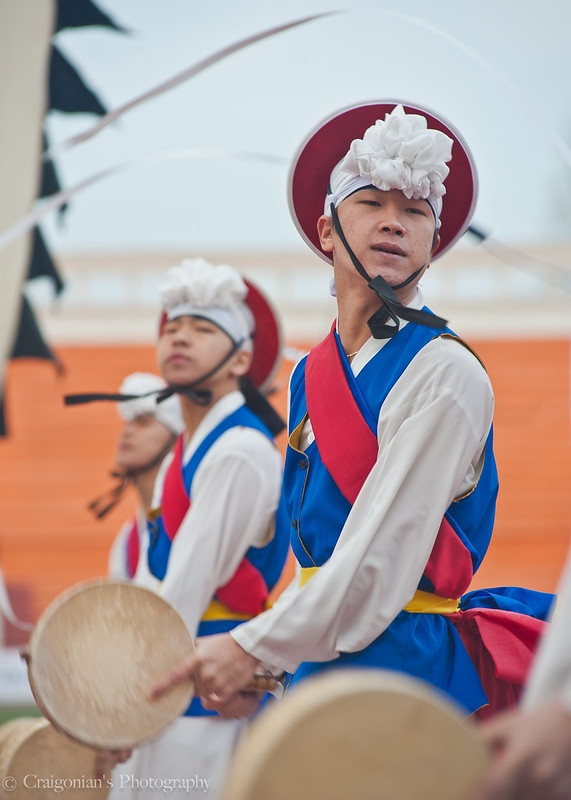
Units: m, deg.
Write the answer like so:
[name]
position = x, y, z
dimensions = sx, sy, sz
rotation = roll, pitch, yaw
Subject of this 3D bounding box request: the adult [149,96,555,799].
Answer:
[adult]
position = 0.211, 0.378, 4.568
dimensions = 1.333, 2.191, 0.749
rotation = -3, 5, -9

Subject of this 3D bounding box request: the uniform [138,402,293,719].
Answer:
[uniform]
position = -0.193, 0.468, 4.975
dimensions = 0.632, 0.527, 0.946
rotation = -2, 54, 4

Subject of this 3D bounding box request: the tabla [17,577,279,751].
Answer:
[tabla]
position = -0.393, 0.648, 4.106
dimensions = 0.554, 0.402, 0.118
rotation = 16, -17, 35
